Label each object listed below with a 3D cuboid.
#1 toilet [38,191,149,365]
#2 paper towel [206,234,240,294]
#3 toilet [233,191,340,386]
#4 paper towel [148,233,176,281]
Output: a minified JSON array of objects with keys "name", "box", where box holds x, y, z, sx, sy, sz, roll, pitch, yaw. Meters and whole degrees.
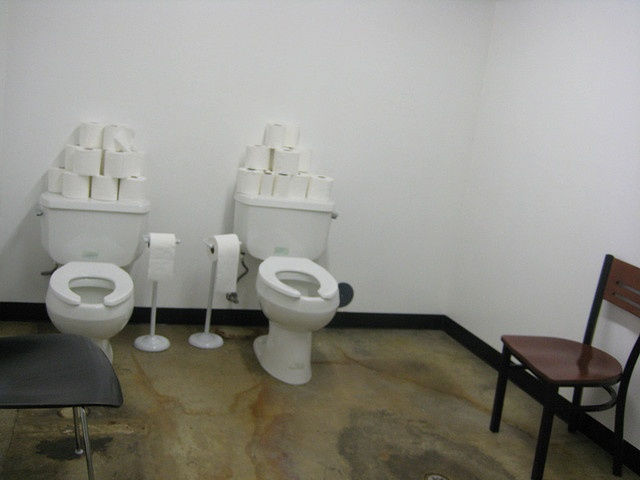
[{"name":"toilet","box":[-1.180,0.163,2.942,0.657,0.907,0.908,1,31,-18]},{"name":"paper towel","box":[-0.616,0.161,3.099,0.200,0.410,0.172,2,16,-18]},{"name":"toilet","box":[-0.414,0.220,3.073,0.662,1.207,1.081,-1,14,-13]},{"name":"paper towel","box":[-0.934,0.096,2.931,0.206,0.295,0.157,2,31,-17]}]
